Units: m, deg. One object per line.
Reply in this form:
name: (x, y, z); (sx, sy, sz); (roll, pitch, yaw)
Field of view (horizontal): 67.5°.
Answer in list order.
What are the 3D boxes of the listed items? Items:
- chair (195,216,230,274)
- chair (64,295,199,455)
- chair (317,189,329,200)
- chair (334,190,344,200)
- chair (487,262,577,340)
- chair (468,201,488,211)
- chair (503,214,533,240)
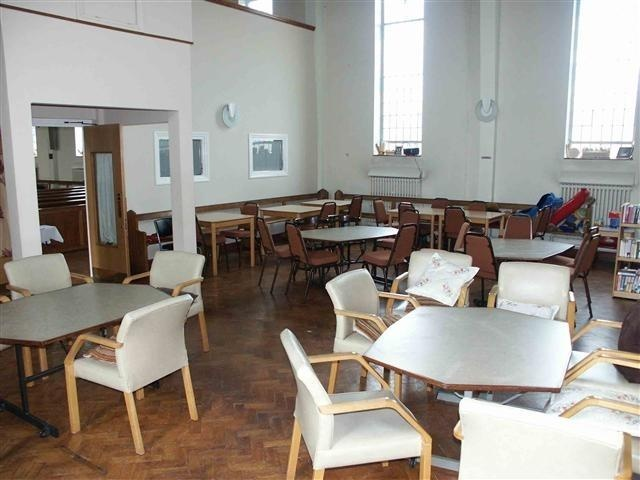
chair: (-1.673, 0.061, 7.397); (0.480, 0.557, 0.778); (-10, 16, -37)
chair: (-1.432, 1.027, 3.585); (0.805, 1.204, 0.835); (8, 11, 20)
chair: (0.111, -1.105, 11.452); (0.342, 0.236, 0.325); (-7, 12, -26)
chair: (0.446, -1.059, 11.247); (0.213, 0.286, 0.210); (6, 28, 12)
chair: (1.827, 0.444, 4.343); (0.674, 0.810, 0.694); (3, 5, 25)
chair: (2.945, -0.637, 8.882); (0.221, 0.232, 0.286); (3, 5, 18)
chair: (2.956, -0.237, 7.215); (0.366, 0.579, 0.407); (6, 13, 31)
